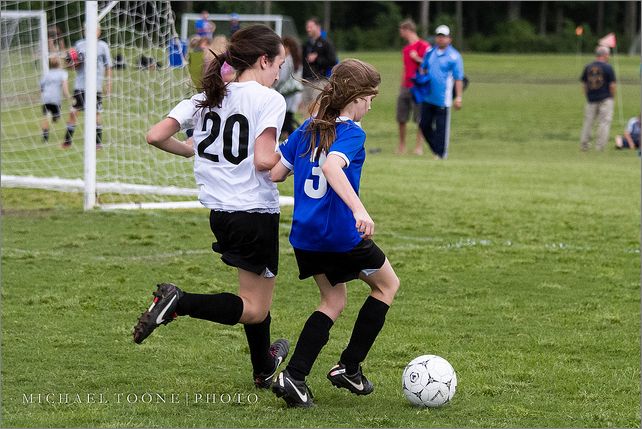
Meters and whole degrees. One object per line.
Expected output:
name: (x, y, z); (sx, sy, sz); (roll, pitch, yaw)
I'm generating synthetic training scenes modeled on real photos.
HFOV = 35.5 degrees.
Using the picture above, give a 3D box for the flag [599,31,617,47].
flag: (2.620, -1.580, 9.139); (0.140, 0.123, 0.122); (-5, -5, 6)

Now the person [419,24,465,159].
person: (1.124, -1.123, 9.310); (0.438, 1.232, 0.182); (8, 12, 38)

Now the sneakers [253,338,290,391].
sneakers: (-0.374, 1.191, 8.110); (0.164, 0.459, 0.194); (11, -32, 23)

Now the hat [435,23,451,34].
hat: (1.125, -1.706, 9.260); (0.151, 0.092, 0.239); (4, 12, 11)

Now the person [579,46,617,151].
person: (2.519, -1.045, 9.112); (0.304, 0.936, 0.086); (3, 9, 13)

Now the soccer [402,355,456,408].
soccer: (0.853, 1.315, 7.798); (0.375, 0.358, 0.374); (-2, 37, 4)

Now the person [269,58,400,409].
person: (0.094, 0.156, 7.699); (0.965, 2.659, 0.591); (0, 9, -1)
